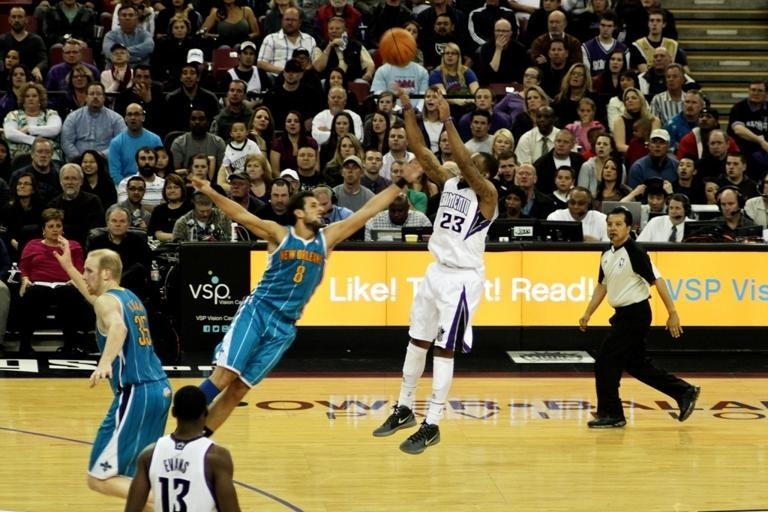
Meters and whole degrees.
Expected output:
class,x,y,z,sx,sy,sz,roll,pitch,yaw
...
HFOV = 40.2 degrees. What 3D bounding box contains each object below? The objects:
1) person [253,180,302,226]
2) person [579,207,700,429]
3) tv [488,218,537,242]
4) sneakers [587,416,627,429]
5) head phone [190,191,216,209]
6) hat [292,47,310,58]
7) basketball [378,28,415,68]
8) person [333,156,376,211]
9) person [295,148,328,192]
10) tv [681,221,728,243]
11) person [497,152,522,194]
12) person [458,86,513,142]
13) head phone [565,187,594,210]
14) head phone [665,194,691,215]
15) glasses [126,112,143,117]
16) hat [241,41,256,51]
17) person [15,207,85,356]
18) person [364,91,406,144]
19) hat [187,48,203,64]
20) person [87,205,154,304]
class,x,y,z,sx,sy,sz,roll,pitch,yaw
person,-1.379,-0.693,13.578,0.782,0.589,0.382,3,7,-1
person,2.981,0.700,12.529,1.237,2.506,0.973,1,14,4
tv,1.756,-0.360,14.268,0.615,0.305,0.409,0,2,0
sneakers,2.607,1.959,12.374,0.421,0.190,0.158,5,-1,-7
head phone,-2.500,-0.771,14.451,0.229,0.254,0.263,1,-14,-23
hat,-1.429,-3.472,17.818,0.299,0.162,0.422,0,1,1
basketball,0.151,-2.734,13.983,0.491,0.485,0.493,-3,-7,13
person,-0.466,-1.091,15.520,0.972,0.787,0.517,1,-8,4
person,-1.198,-1.315,15.886,0.711,0.752,0.427,0,-4,-8
tv,4.440,-0.340,14.578,0.560,0.296,0.377,0,-2,6
person,1.799,-1.256,15.587,0.325,0.546,0.755,2,14,6
person,1.655,-2.267,17.083,0.947,0.922,0.505,3,3,14
head phone,2.767,-0.857,14.950,0.297,0.340,0.391,7,-15,18
head phone,4.102,-0.734,14.770,0.306,0.280,0.131,6,9,36
glasses,-3.816,-2.209,16.142,0.267,0.092,0.161,-7,16,-30
hat,-2.332,-3.597,17.888,0.248,0.124,0.369,0,14,-2
person,-4.531,0.309,14.346,0.896,2.040,1.222,0,-3,-16
person,0.011,-2.182,16.985,0.700,0.938,0.514,2,4,-3
hat,-3.264,-3.466,18.072,0.286,0.222,0.441,1,6,-3
person,-3.531,-0.002,14.263,0.829,1.272,0.843,2,-21,-17
